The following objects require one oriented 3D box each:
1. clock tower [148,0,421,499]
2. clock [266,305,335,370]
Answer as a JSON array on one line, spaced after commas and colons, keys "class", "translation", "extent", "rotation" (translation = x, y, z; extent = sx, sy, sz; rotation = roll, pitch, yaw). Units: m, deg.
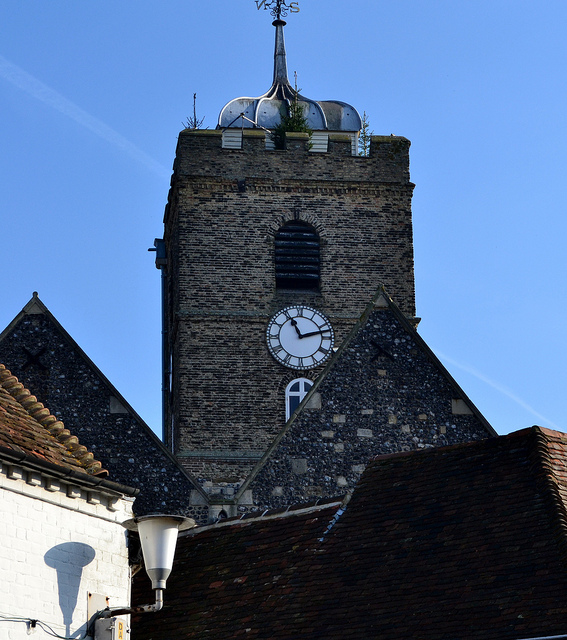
[{"class": "clock tower", "translation": [-0.031, -1.029, 46.517], "extent": [4.573, 12.299, 3.193], "rotation": [1, -34, -3]}, {"class": "clock", "translation": [0.351, 0.379, 45.499], "extent": [1.366, 1.431, 0.094], "rotation": [2, -26, -5]}]
